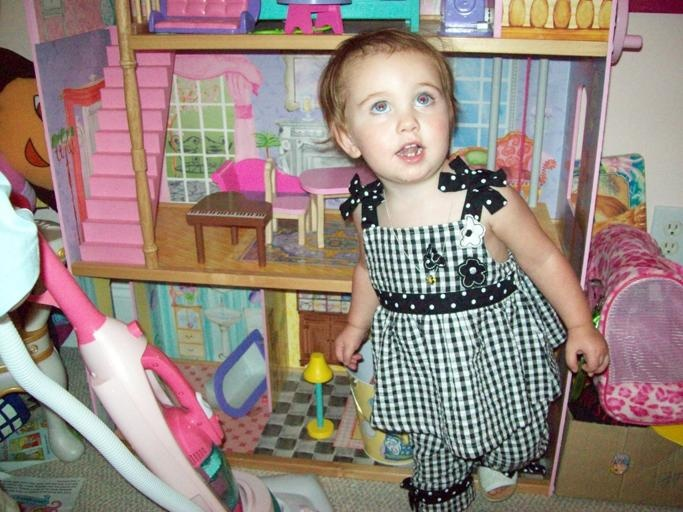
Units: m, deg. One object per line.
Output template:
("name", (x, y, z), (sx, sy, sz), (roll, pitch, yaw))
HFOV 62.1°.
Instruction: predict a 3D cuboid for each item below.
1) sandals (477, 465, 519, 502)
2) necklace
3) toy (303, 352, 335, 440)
("sandals", (0.706, 1.041, 2.609), (0.117, 0.068, 0.213), (2, -11, 10))
("necklace", (0.277, -0.011, 2.009), (0.378, 0.254, 0.201), (0, -28, -2))
("toy", (-0.123, 0.754, 3.027), (0.208, 0.404, 0.208), (-2, 7, 4))
